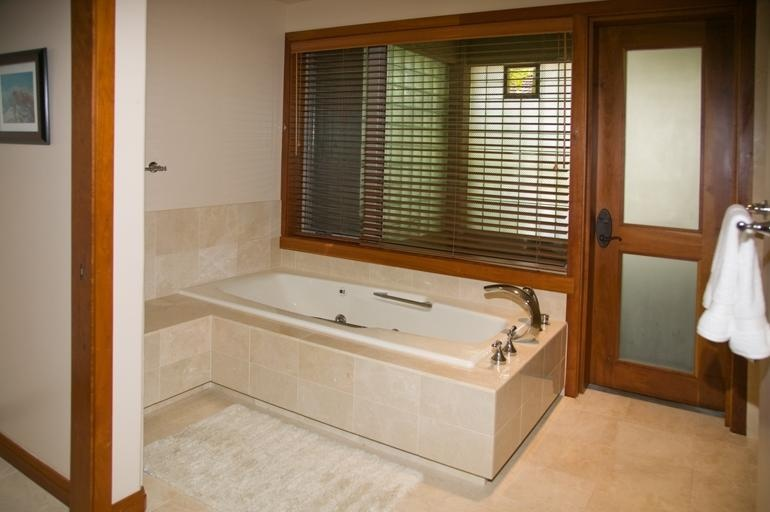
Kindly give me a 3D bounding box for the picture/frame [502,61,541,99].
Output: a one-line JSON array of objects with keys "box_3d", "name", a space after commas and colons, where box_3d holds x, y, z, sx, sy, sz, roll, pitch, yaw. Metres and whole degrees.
[{"box_3d": [1.014, -1.292, 4.004, 0.279, 0.259, 0.040, 6, 4, 29], "name": "picture/frame"}]
